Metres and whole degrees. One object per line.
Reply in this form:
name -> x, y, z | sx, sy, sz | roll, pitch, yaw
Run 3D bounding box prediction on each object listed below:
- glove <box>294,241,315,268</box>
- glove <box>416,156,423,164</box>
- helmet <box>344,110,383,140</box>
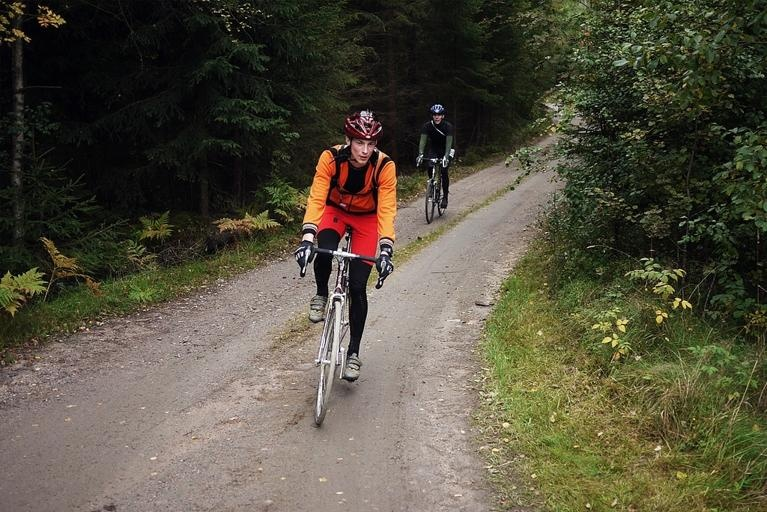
glove -> -1.073, -0.048, 8.877 | 0.319, 0.311, 0.257 | -16, 17, -31
glove -> 0.937, -2.459, 16.652 | 0.208, 0.149, 0.464 | -1, 19, -1
helmet -> -0.302, -1.821, 9.031 | 0.509, 0.420, 0.328 | -7, 14, 0
